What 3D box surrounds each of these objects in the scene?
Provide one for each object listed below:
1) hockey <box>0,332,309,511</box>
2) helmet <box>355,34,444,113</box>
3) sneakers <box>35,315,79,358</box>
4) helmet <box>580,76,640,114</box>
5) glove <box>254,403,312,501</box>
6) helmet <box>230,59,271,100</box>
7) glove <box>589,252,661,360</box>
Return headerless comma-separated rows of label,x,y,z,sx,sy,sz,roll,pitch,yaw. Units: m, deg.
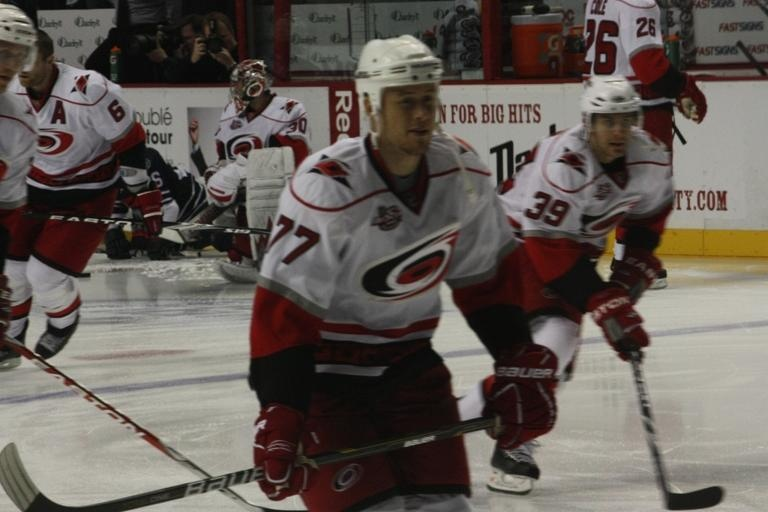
hockey,-1.024,0.735,3.614,1.367,0.253,0.062,26,57,1
helmet,-0.012,-0.597,2.693,0.237,0.237,0.292,-7,-6,-30
sneakers,-1.934,0.492,5.005,0.163,0.327,0.102,36,-7,3
helmet,1.054,-0.760,3.963,0.220,0.208,0.249,-1,11,6
glove,-0.312,0.590,2.527,0.164,0.275,0.121,-3,16,-5
helmet,-1.104,-1.498,7.054,0.407,0.308,0.301,4,22,1
glove,1.079,0.252,3.858,0.374,0.215,0.484,3,50,-5
